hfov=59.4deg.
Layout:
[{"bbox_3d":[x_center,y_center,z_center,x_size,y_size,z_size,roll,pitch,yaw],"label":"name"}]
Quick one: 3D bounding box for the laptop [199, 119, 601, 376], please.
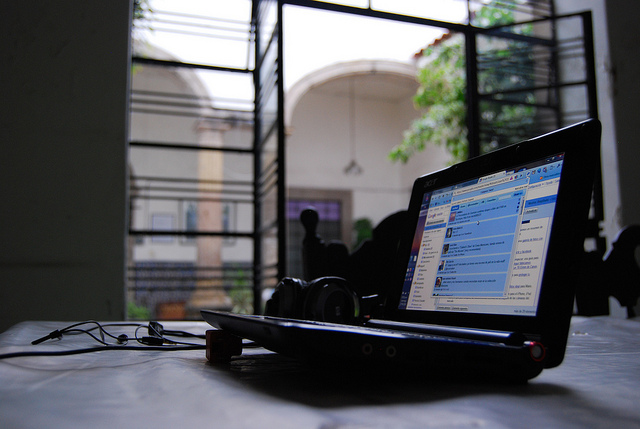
[{"bbox_3d":[0.210,0.058,1.172,0.641,0.490,0.383,0,5,-5],"label":"laptop"}]
